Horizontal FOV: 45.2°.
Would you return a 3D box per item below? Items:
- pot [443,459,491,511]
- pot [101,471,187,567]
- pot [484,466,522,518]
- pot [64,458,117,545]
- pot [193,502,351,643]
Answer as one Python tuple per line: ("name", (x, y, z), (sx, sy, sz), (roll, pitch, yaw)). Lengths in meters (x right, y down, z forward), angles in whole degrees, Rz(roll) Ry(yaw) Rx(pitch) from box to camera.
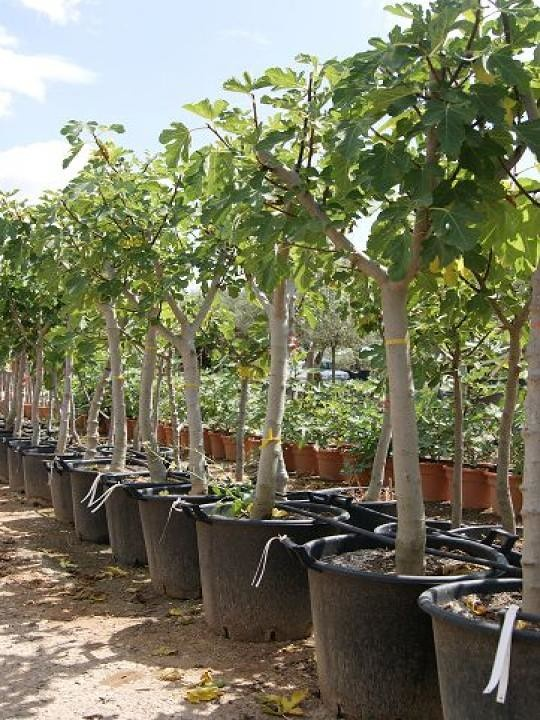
("pot", (2.033, 1.311, 6.676), (0.461, 0.286, 0.423), (1, -7, 0))
("pot", (-1.059, 1.198, 4.771), (0.808, 0.665, 0.707), (1, -1, 2))
("pot", (2.192, 1.252, 6.068), (0.261, 0.393, 0.970), (-6, -3, 14))
("pot", (-1.443, 1.273, 5.903), (0.707, 0.655, 0.708), (2, -1, 0))
("pot", (-0.073, 1.059, 3.322), (0.812, 0.510, 0.706), (5, -9, -25))
